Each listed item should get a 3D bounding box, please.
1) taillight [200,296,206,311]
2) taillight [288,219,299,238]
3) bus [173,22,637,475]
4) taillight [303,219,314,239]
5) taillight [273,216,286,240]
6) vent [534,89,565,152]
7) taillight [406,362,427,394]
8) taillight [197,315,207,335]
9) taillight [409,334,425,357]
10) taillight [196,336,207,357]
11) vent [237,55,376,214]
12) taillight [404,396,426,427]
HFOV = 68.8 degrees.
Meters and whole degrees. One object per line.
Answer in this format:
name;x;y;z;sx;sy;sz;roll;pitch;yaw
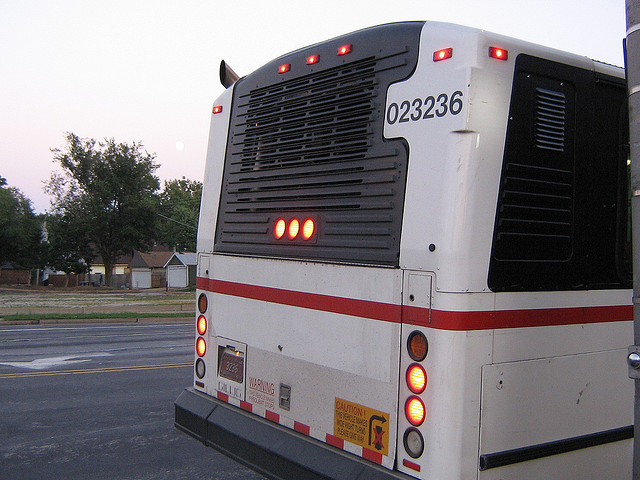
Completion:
taillight;-1.233;0.673;4.922;0.025;0.122;0.113;3;3;-28
taillight;-0.234;-0.102;4.099;0.025;0.138;0.106;4;1;-37
bus;1.498;0.157;4.601;4.200;2.654;2.562;-1;2;-36
taillight;-0.105;-0.091;3.987;0.029;0.146;0.115;7;-5;-24
taillight;-0.364;-0.100;4.229;0.027;0.240;0.183;4;-3;-28
vent;1.643;-0.858;3.365;0.389;0.592;0.042;3;-6;-33
taillight;0.652;0.934;3.133;0.039;0.265;0.208;-3;3;-31
taillight;-1.244;0.901;4.908;0.036;0.178;0.157;-1;12;-31
taillight;0.658;0.715;3.150;0.021;0.181;0.141;0;-4;-33
taillight;-1.245;1.126;4.893;0.043;0.188;0.167;-3;17;-31
vent;-0.070;-0.893;4.062;1.345;1.380;0.465;-5;-11;43
taillight;0.638;1.151;3.129;0.030;0.204;0.164;-6;-1;-43
